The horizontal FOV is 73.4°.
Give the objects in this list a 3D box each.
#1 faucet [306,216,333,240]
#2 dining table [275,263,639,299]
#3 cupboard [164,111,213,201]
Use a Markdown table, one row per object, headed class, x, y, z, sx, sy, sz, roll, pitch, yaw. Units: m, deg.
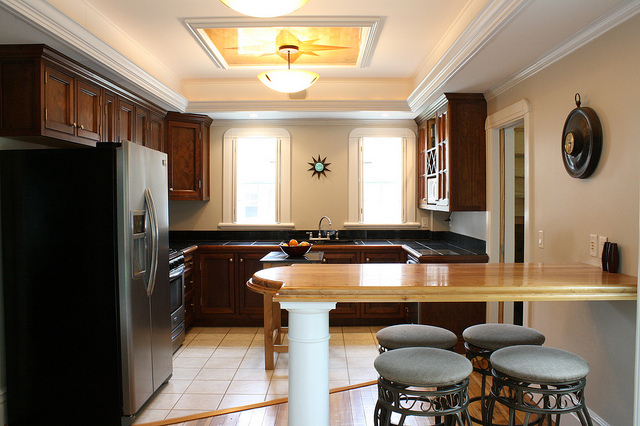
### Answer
| class | x | y | z | sx | sy | sz | roll | pitch | yaw |
| --- | --- | --- | --- | --- | --- | --- | --- | --- | --- |
| faucet | 0.017 | 0.225 | 6.260 | 0.368 | 0.327 | 0.263 | 1 | 8 | -4 |
| dining table | 0.929 | 0.474 | 3.115 | 2.438 | 0.170 | 0.583 | 2 | 7 | -1 |
| cupboard | -1.818 | -0.759 | 5.899 | 0.788 | 1.091 | 0.600 | 0 | -1 | 0 |
